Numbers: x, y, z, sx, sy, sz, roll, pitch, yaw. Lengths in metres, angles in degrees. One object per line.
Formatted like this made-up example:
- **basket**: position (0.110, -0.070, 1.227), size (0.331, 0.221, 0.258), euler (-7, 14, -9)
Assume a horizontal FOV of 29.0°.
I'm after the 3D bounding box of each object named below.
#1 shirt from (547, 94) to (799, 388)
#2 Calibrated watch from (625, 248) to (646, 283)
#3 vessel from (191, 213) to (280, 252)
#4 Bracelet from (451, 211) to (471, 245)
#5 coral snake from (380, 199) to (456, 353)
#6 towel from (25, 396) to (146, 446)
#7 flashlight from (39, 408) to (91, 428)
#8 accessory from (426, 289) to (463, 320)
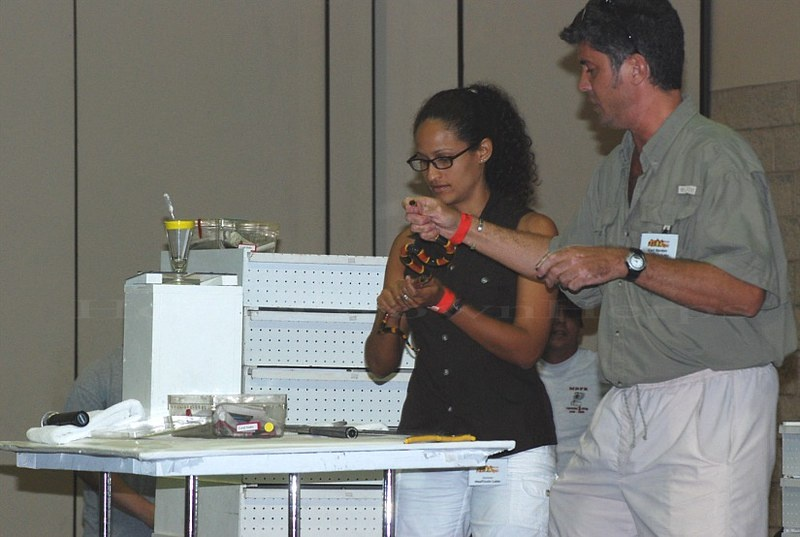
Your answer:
- **shirt**: position (1.245, -0.076, 6.999), size (1.025, 1.443, 1.600), euler (0, 0, -18)
- **Calibrated watch**: position (0.961, -0.012, 6.383), size (0.077, 0.116, 0.121), euler (11, -21, -4)
- **vessel**: position (-0.815, -0.128, 7.525), size (0.349, 0.198, 0.371), euler (3, -2, 45)
- **Bracelet**: position (0.259, -0.165, 6.659), size (0.041, 0.115, 0.096), euler (30, -8, -9)
- **coral snake**: position (0.105, 0.036, 6.872), size (0.310, 0.571, 0.177), euler (8, -21, 33)
- **towel**: position (-1.279, 0.629, 6.500), size (0.448, 0.125, 0.395), euler (-1, -20, -4)
- **flashlight**: position (-1.385, 0.623, 6.410), size (0.206, 0.047, 0.181), euler (-6, 4, 1)
- **accessory**: position (0.199, 0.158, 6.649), size (0.063, 0.099, 0.132), euler (46, -4, -4)
